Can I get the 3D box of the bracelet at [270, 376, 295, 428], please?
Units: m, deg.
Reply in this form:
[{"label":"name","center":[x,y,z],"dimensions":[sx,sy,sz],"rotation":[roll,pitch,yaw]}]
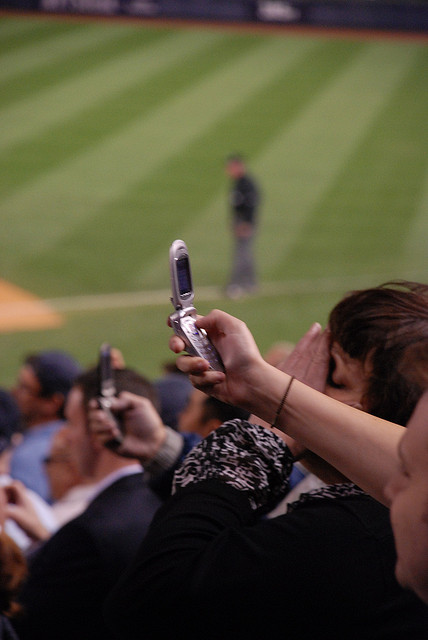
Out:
[{"label":"bracelet","center":[0.082,0.098,0.704],"dimensions":[0.070,0.007,0.010],"rotation":[-55,29,0]}]
